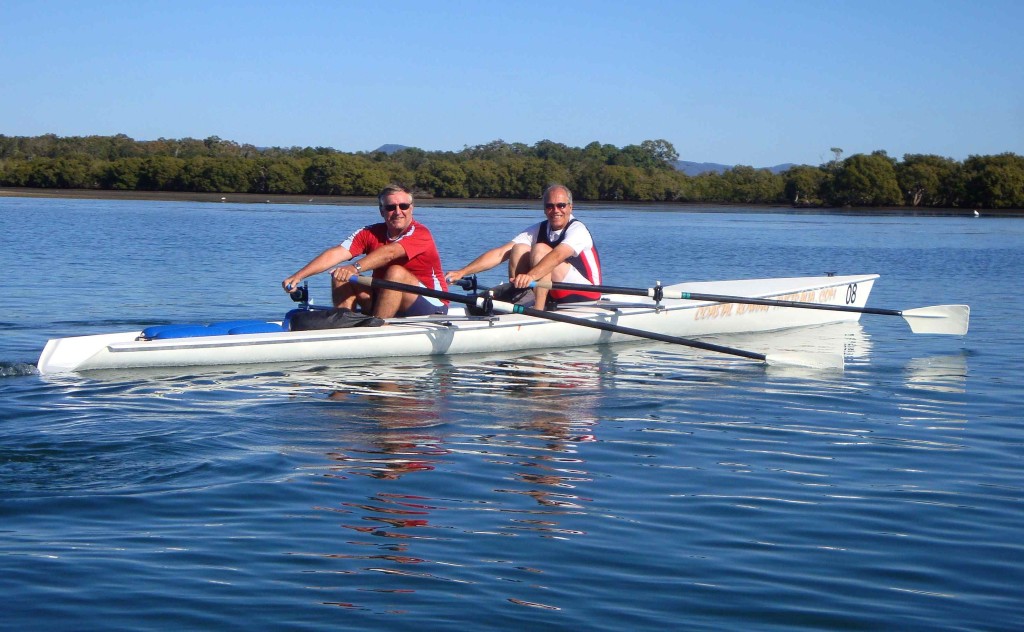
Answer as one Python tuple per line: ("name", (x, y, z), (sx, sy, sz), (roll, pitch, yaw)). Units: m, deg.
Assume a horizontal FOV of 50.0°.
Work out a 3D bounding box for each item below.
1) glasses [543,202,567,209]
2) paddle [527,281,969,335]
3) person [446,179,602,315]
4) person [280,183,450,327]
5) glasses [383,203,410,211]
("glasses", (0.508, -1.266, 12.628), (0.256, 0.069, 0.123), (3, 11, 11))
("paddle", (3.494, -0.211, 17.513), (0.741, 0.748, 9.006), (-8, 6, -32))
("person", (0.301, -0.687, 12.727), (1.185, 1.040, 1.880), (12, 15, 41))
("person", (-1.458, -0.684, 12.072), (1.248, 1.498, 1.412), (5, 13, 11))
("glasses", (-1.239, -1.170, 11.770), (0.258, 0.080, 0.074), (0, 12, -6))
